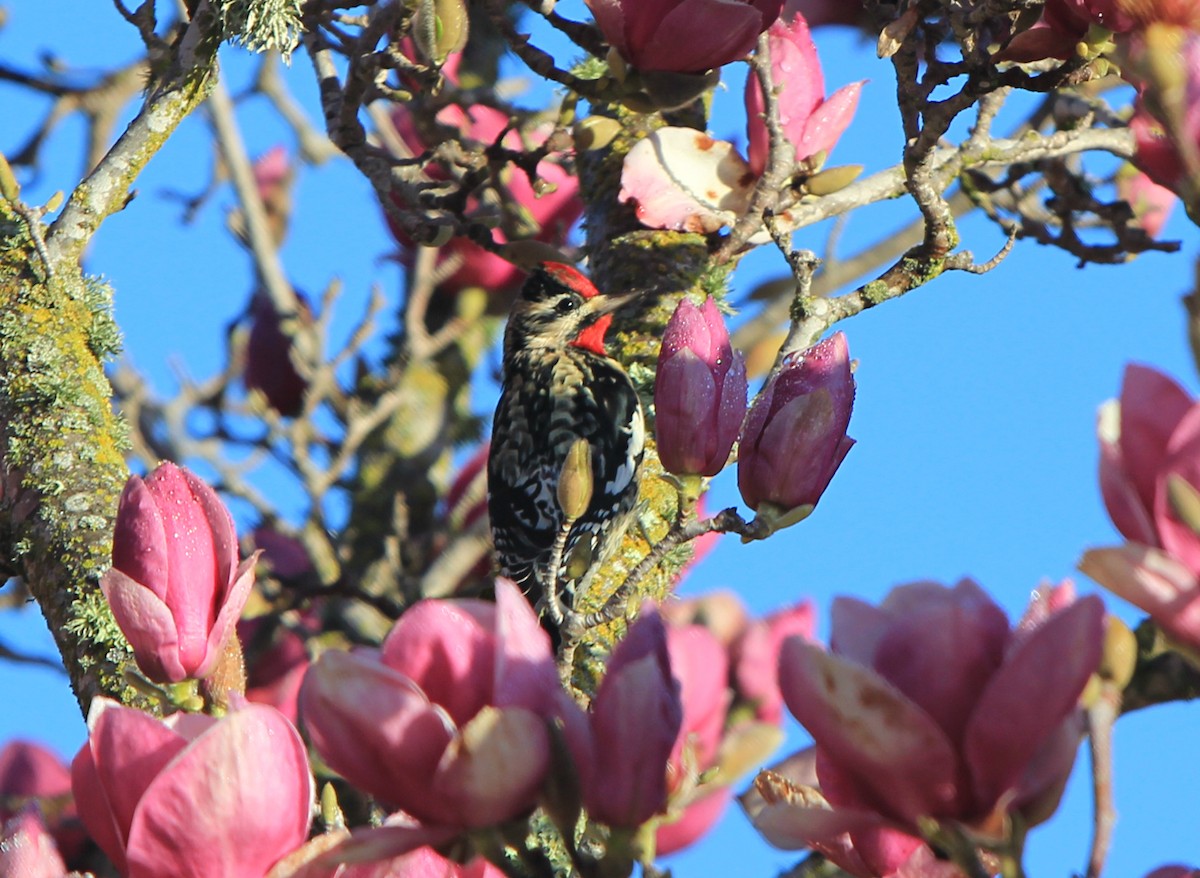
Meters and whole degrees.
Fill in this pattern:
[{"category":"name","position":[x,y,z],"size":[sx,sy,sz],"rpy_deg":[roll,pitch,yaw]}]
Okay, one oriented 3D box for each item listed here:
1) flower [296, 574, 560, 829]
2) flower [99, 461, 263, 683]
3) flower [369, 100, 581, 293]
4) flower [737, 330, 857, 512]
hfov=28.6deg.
[{"category":"flower","position":[-0.241,0.434,3.500],"size":[0.372,0.342,0.259],"rpy_deg":[-19,-60,46]},{"category":"flower","position":[-0.708,0.219,3.887],"size":[0.262,0.289,0.187],"rpy_deg":[32,-37,-21]},{"category":"flower","position":[-0.290,-0.599,5.844],"size":[0.481,0.364,0.548],"rpy_deg":[15,-8,-12]},{"category":"flower","position":[0.352,-0.004,4.119],"size":[0.182,0.376,0.183],"rpy_deg":[9,-23,-1]}]
